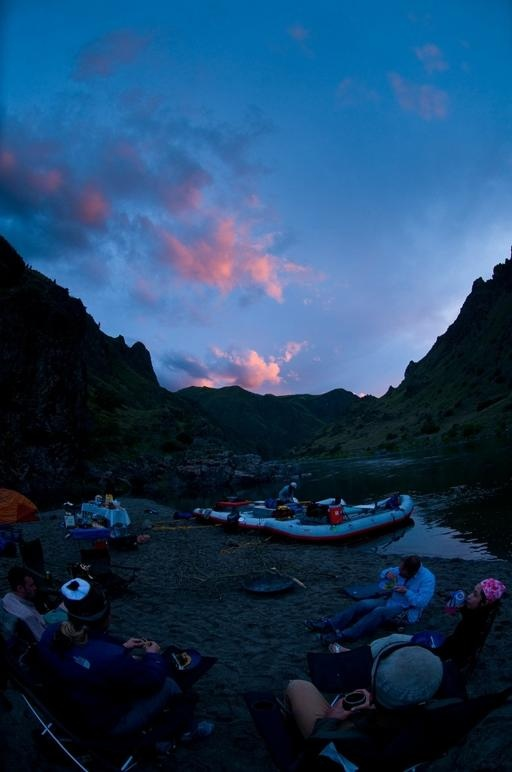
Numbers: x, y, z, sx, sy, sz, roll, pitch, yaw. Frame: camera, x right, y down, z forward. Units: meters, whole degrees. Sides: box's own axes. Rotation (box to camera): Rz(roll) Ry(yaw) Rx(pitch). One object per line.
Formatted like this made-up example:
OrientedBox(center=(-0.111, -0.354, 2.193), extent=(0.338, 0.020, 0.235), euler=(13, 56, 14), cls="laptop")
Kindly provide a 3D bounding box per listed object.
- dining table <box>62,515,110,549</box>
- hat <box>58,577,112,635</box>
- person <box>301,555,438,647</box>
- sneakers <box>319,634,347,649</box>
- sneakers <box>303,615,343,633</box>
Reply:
OrientedBox(center=(-4.756, 4.206, 16.172), extent=(1.394, 0.469, 2.108), euler=(3, -7, -26), cls="dining table")
OrientedBox(center=(-1.694, 2.111, 5.486), extent=(0.401, 0.421, 0.511), euler=(-15, 12, -17), cls="hat")
OrientedBox(center=(1.986, 3.551, 9.396), extent=(2.258, 1.207, 1.082), euler=(-7, 10, -20), cls="person")
OrientedBox(center=(1.221, 4.001, 8.700), extent=(0.169, 0.198, 0.483), euler=(1, -8, -25), cls="sneakers")
OrientedBox(center=(1.117, 4.044, 9.546), extent=(0.661, 0.245, 0.234), euler=(-4, -24, 28), cls="sneakers")
